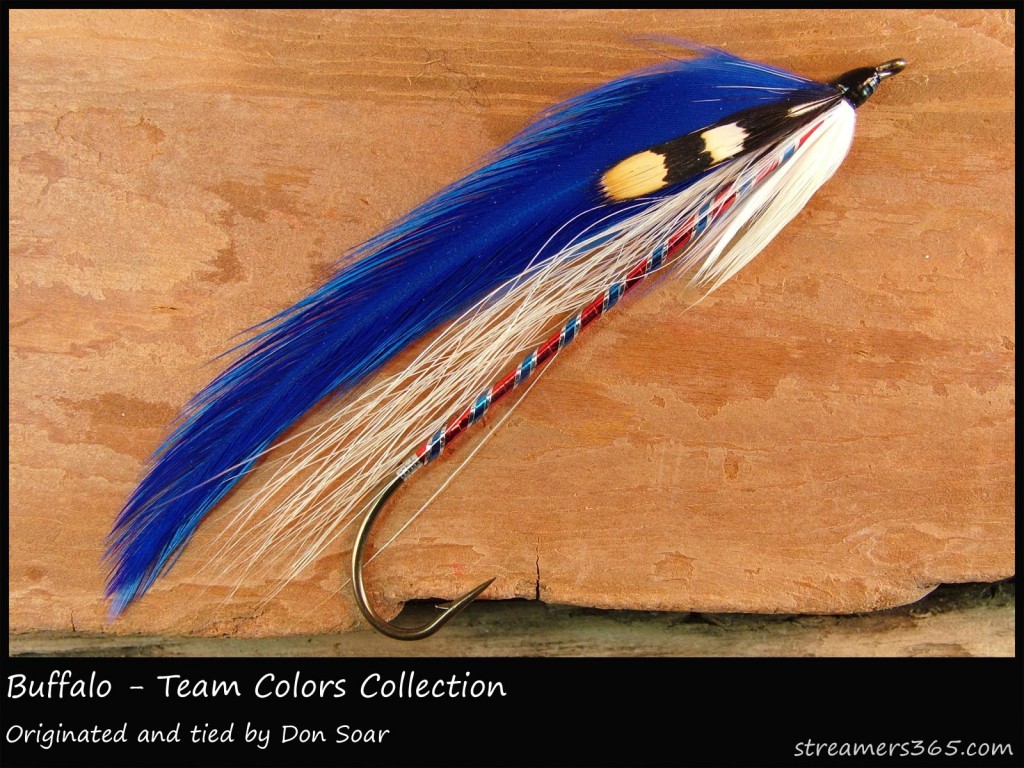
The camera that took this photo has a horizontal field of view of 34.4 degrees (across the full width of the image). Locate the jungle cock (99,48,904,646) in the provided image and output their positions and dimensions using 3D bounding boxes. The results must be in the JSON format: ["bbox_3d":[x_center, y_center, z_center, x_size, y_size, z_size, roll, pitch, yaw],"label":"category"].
[{"bbox_3d":[-0.081,-0.030,3.888,1.077,1.648,0.208,20,10,-20],"label":"jungle cock"}]
